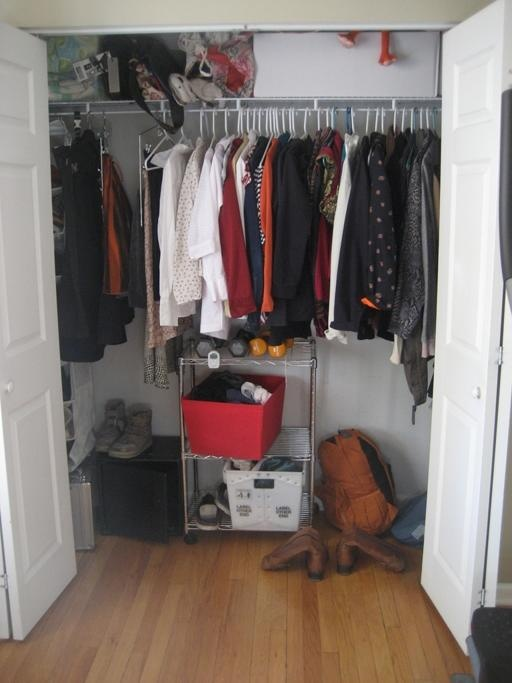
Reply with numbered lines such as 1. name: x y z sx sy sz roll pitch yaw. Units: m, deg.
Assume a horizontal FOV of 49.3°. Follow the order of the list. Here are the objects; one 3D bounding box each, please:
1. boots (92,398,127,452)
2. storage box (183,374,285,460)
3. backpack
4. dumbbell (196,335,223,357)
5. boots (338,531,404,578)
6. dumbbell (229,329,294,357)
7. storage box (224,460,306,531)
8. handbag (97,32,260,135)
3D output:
1. boots: -0.717 0.400 2.715 0.098 0.192 0.290 0 6 7
2. storage box: -0.098 0.348 2.466 0.446 0.356 0.426 0 8 4
3. backpack: 0.473 0.663 2.621 0.226 0.469 0.343 -1 12 -11
4. dumbbell: -0.219 0.016 2.538 0.126 0.098 0.207 0 8 5
5. boots: 0.479 0.870 2.334 0.278 0.151 0.199 1 8 8
6. dumbbell: 0.024 0.016 2.479 0.158 0.072 0.169 -4 6 15
7. storage box: 0.035 0.687 2.414 0.310 0.315 0.245 3 12 6
8. handbag: -0.322 -1.080 2.269 0.540 0.457 0.438 6 10 40
